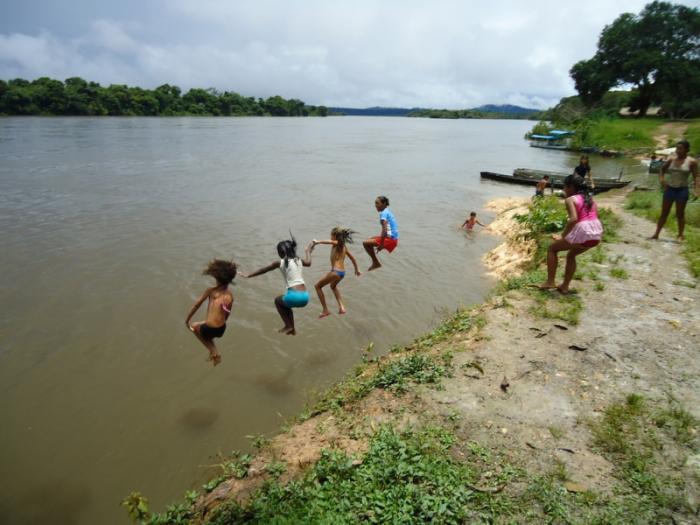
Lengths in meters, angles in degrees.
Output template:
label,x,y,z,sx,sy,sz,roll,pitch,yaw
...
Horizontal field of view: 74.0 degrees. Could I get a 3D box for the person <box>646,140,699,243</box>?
label,x,y,z,sx,sy,sz,roll,pitch,yaw
person,9.194,-1.914,13.084,0.893,2.966,1.075,12,24,32

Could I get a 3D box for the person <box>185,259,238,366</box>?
label,x,y,z,sx,sy,sz,roll,pitch,yaw
person,-3.059,1.212,10.446,1.148,2.738,0.650,-6,21,-14

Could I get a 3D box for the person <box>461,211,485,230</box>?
label,x,y,z,sx,sy,sz,roll,pitch,yaw
person,6.087,-2.016,22.962,1.323,0.379,1.862,25,-2,12

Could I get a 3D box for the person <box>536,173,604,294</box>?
label,x,y,z,sx,sy,sz,roll,pitch,yaw
person,5.231,-0.564,10.805,0.696,2.838,1.099,-11,22,-25
